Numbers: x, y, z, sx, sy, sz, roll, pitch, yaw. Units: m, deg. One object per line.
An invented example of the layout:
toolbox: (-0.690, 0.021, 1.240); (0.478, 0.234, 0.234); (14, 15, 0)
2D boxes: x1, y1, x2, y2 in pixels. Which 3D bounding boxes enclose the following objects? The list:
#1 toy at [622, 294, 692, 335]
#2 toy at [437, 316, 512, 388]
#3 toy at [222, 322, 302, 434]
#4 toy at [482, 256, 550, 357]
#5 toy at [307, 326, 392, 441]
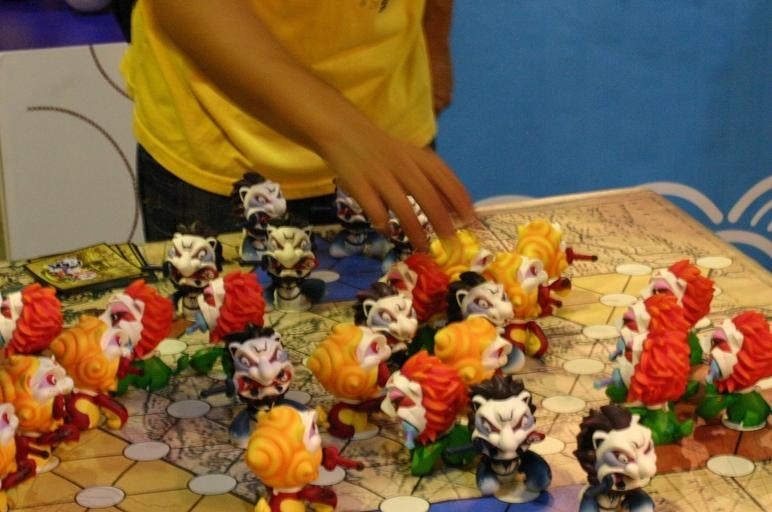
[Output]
toy: (0.570, 0.122, 1.364); (0.107, 0.051, 0.095); (-1, 10, -11)
toy: (0.181, 0.195, 1.360); (0.139, 0.098, 0.136); (-7, 4, 15)
toy: (-0.255, 0.251, 1.291); (0.166, 0.168, 0.154); (-19, 27, -21)
toy: (0.294, 0.118, 1.507); (0.148, 0.190, 0.168); (-16, 16, 9)
toy: (-0.064, 0.250, 1.450); (0.233, 0.254, 0.221); (1, 14, -4)
